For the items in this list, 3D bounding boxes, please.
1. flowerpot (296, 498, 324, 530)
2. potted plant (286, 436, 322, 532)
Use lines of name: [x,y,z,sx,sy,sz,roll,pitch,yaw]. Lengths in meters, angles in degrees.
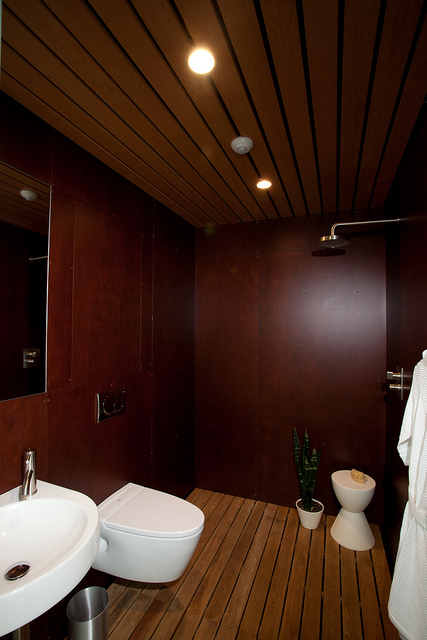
flowerpot: [0.618,1.221,2.492,0.178,0.127,0.213,0,2,2]
potted plant: [0.583,1.022,2.543,0.234,0.519,0.311,0,1,19]
